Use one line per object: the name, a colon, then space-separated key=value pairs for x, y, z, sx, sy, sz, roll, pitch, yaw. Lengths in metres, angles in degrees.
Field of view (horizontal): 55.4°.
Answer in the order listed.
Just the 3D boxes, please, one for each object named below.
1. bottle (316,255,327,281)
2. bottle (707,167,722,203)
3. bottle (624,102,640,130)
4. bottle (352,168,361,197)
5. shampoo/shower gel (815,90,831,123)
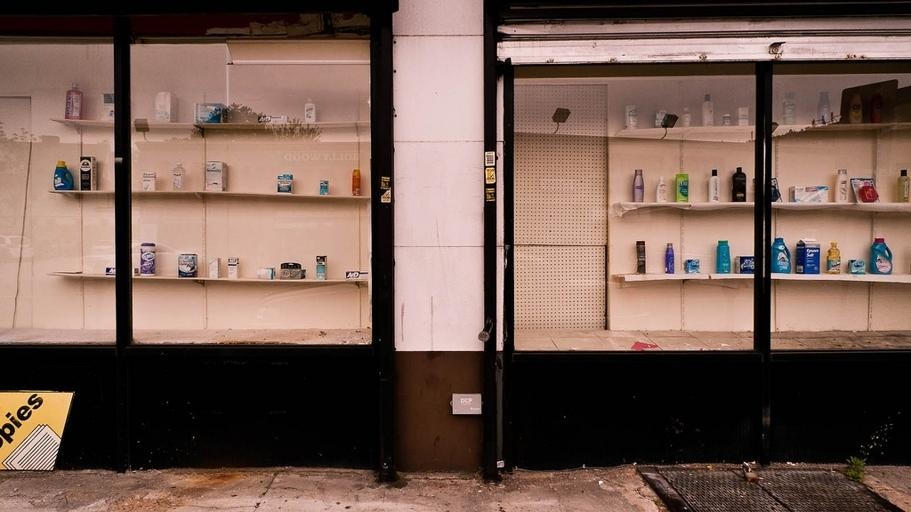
bottle: x=-1.296 y=0.114 z=8.380 sx=0.116 sy=0.232 sz=0.022 roll=1 pitch=2 yaw=0
bottle: x=2.523 y=-0.676 z=8.396 sx=0.119 sy=0.318 sz=0.025 roll=1 pitch=2 yaw=2
bottle: x=1.712 y=-1.340 z=8.389 sx=0.137 sy=0.222 sz=0.017 roll=0 pitch=2 yaw=-2
bottle: x=-0.953 y=-0.701 z=8.333 sx=0.098 sy=0.256 sz=0.015 roll=1 pitch=2 yaw=19
shampoo/shower gel: x=3.590 y=-1.427 z=8.396 sx=0.148 sy=0.305 sz=0.034 roll=0 pitch=2 yaw=-15
